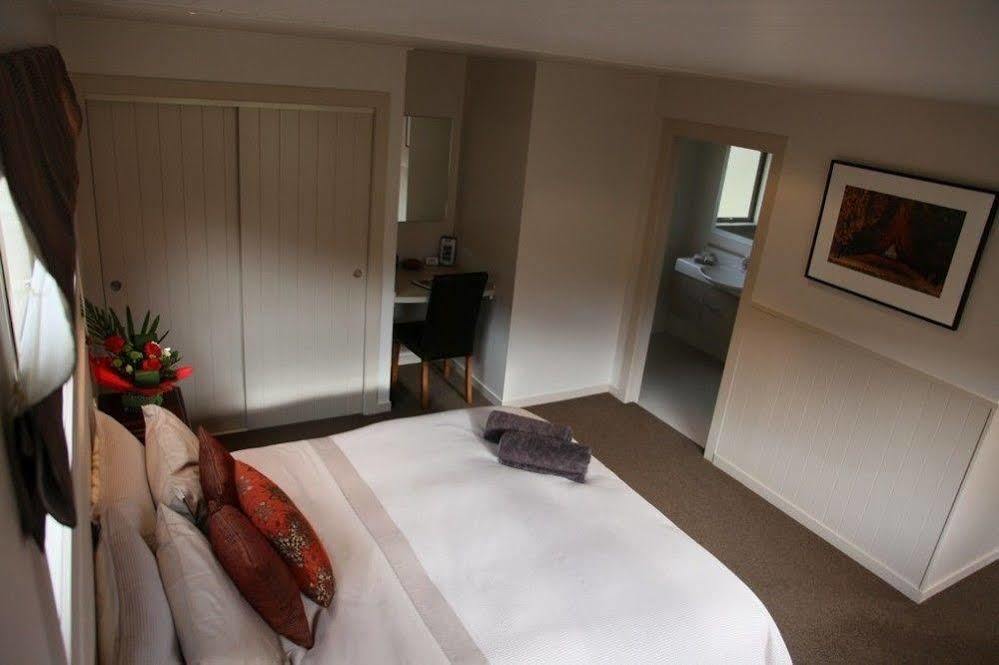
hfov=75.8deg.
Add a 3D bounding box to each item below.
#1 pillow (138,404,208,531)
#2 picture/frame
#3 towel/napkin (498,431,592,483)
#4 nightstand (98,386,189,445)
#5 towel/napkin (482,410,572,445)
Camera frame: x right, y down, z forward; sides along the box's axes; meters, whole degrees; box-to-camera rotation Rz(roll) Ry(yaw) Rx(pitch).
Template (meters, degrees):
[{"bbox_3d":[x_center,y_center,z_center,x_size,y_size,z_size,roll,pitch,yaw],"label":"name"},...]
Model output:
[{"bbox_3d":[-1.480,0.622,2.898,0.175,0.182,0.446,-1,27,-33],"label":"pillow"},{"bbox_3d":[2.457,-0.534,3.863,0.032,0.801,0.887,-14,30,-33],"label":"picture/frame"},{"bbox_3d":[0.253,0.695,3.673,0.392,0.143,0.289,10,19,3],"label":"towel/napkin"},{"bbox_3d":[-2.102,0.466,3.695,0.426,0.308,0.225,-3,-15,-7],"label":"nightstand"},{"bbox_3d":[0.158,0.563,3.827,0.292,0.114,0.255,5,18,-3],"label":"towel/napkin"}]
